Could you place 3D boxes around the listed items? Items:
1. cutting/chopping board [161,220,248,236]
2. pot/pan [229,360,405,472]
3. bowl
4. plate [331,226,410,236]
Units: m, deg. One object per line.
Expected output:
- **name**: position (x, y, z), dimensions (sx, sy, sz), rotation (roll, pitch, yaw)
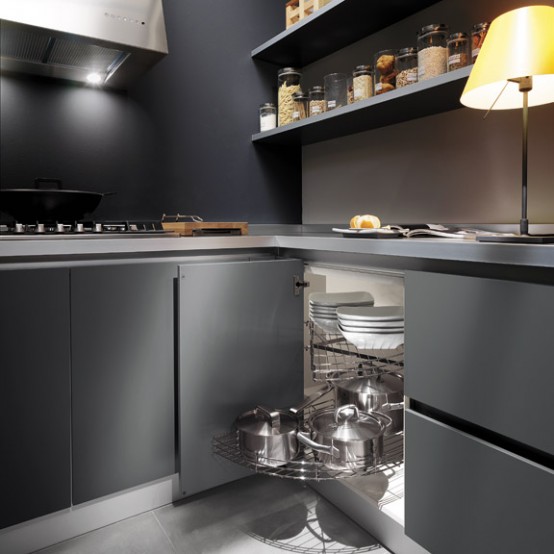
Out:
- **cutting/chopping board**: position (-0.268, -0.210, 2.092), dimensions (0.346, 0.057, 0.324), rotation (-7, 10, -42)
- **pot/pan**: position (0.182, 0.377, 1.577), dimensions (0.457, 0.189, 0.346), rotation (-10, 11, -30)
- **bowl**: position (0.262, 0.112, 1.588), dimensions (0.187, 0.094, 0.260), rotation (-1, 1, -24)
- **plate**: position (0.303, -0.140, 1.520), dimensions (0.217, 0.025, 0.123), rotation (1, 8, 17)
